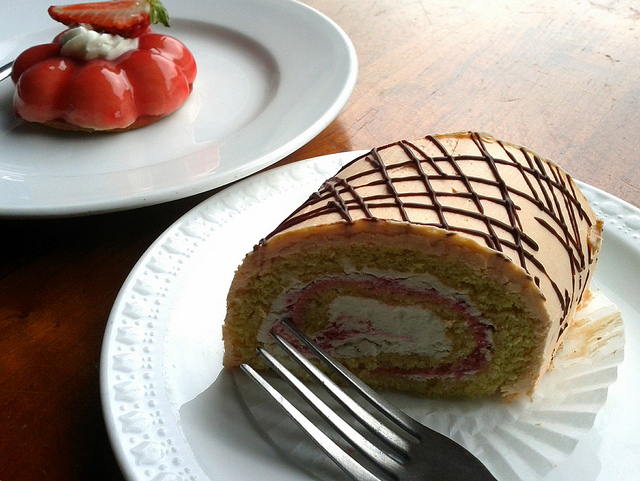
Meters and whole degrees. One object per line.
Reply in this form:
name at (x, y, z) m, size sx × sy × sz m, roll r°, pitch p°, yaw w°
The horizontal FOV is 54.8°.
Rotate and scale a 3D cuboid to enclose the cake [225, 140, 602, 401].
cake at (0.235, 0.064, 1.443) m, size 0.931 × 0.481 × 0.642 m, roll 9°, pitch 29°, yaw 30°
